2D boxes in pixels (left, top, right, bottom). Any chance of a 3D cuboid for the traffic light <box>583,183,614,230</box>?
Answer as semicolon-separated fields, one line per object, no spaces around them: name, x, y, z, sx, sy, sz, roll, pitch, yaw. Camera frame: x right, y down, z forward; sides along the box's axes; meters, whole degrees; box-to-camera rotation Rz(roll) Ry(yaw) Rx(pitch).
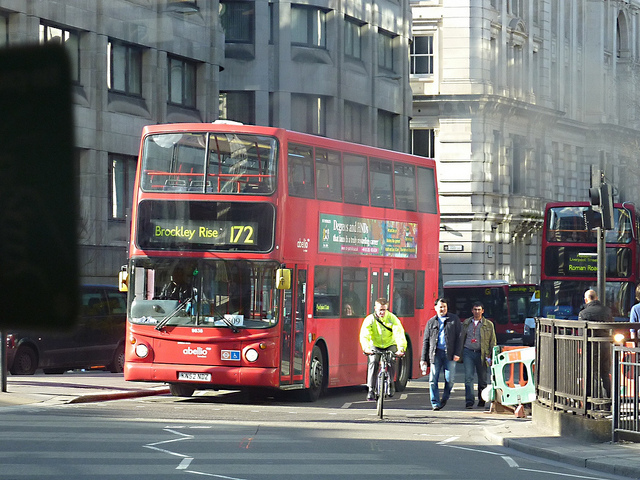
traffic light;4.654;-0.557;18.470;0.447;0.822;0.954;0;-6;13

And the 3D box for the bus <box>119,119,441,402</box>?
bus;-0.187;0.508;21.538;3.267;5.228;7.926;-3;-8;37

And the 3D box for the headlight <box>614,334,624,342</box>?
headlight;4.009;1.334;14.889;0.076;0.106;0.166;-3;-8;39

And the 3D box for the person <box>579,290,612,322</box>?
person;4.411;1.061;17.757;0.507;0.542;1.010;0;-7;15

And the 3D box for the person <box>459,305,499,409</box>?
person;2.851;2.003;19.990;0.628;2.191;0.506;-1;-2;9

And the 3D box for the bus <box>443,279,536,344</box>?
bus;7.350;3.168;47.431;3.603;2.595;1.624;1;-5;5

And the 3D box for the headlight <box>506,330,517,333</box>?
headlight;8.065;3.914;46.961;0.374;0.111;0.064;1;-5;1
